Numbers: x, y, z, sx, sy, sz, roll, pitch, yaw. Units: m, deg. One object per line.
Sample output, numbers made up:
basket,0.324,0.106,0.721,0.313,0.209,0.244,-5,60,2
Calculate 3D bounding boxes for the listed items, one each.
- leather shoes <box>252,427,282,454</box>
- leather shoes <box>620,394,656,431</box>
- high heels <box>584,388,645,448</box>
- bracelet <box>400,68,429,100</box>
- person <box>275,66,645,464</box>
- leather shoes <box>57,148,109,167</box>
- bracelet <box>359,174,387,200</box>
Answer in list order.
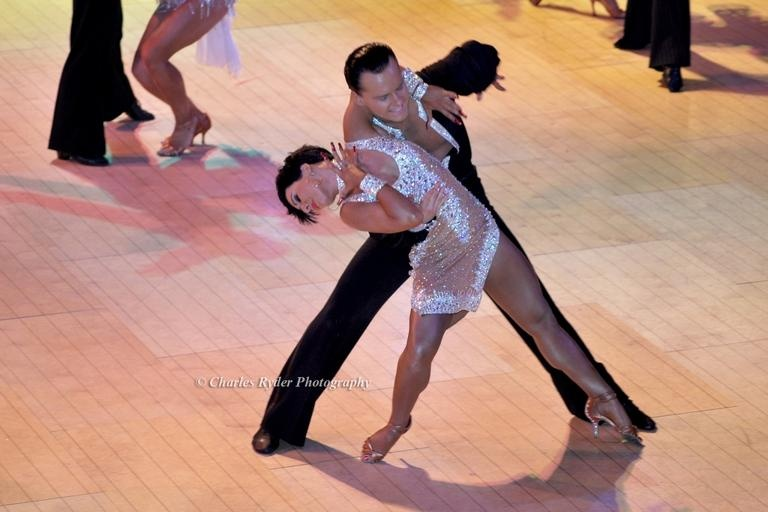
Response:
leather shoes,-0.589,0.917,4.777,0.114,0.081,0.156,-3,11,-15
leather shoes,1.303,0.807,4.875,0.271,0.092,0.087,34,79,-2
high heels,1.140,0.806,4.815,0.492,0.133,0.154,24,16,3
bracelet,0.152,-0.823,4.568,0.175,0.061,0.107,47,47,-16
person,0.291,0.057,4.545,1.412,1.917,0.940,32,41,34
leather shoes,-2.190,-0.697,6.952,0.456,0.142,0.097,4,65,0
bracelet,-0.051,-0.303,4.304,0.110,0.119,0.059,24,37,27
